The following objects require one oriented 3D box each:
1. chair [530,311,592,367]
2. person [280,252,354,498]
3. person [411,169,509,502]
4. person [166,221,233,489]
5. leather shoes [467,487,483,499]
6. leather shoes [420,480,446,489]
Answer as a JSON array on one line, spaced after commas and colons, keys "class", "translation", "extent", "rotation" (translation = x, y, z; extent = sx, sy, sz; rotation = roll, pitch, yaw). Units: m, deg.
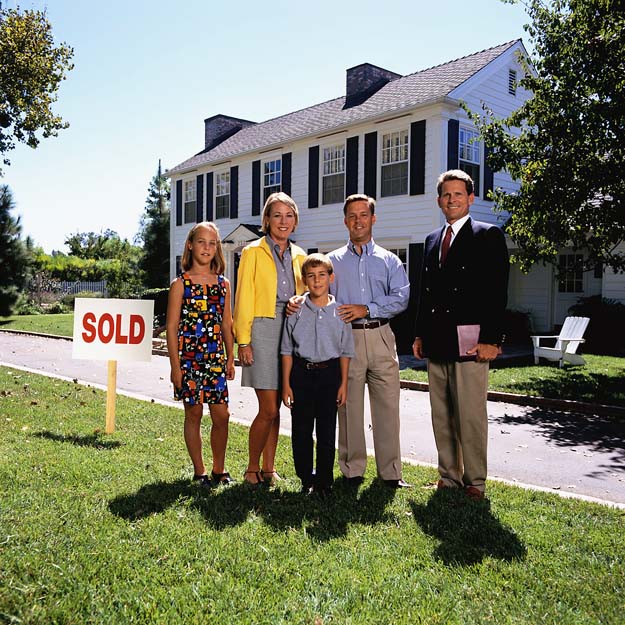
[{"class": "chair", "translation": [5.197, 0.591, 12.440], "extent": [1.086, 1.153, 0.992], "rotation": [4, -1, -43]}, {"class": "person", "translation": [0.032, 0.427, 4.392], "extent": [0.534, 1.275, 0.334], "rotation": [1, 0, -2]}, {"class": "person", "translation": [1.148, 0.109, 4.630], "extent": [0.358, 2.226, 0.774], "rotation": [0, 1, -44]}, {"class": "person", "translation": [-0.882, 0.283, 4.633], "extent": [0.520, 2.063, 0.553], "rotation": [1, 0, -12]}, {"class": "leather shoes", "translation": [1.207, 1.339, 4.375], "extent": [0.125, 0.078, 0.103], "rotation": [1, 0, 19]}, {"class": "leather shoes", "translation": [0.942, 1.367, 4.630], "extent": [0.208, 0.106, 0.074], "rotation": [1, -7, 3]}]
